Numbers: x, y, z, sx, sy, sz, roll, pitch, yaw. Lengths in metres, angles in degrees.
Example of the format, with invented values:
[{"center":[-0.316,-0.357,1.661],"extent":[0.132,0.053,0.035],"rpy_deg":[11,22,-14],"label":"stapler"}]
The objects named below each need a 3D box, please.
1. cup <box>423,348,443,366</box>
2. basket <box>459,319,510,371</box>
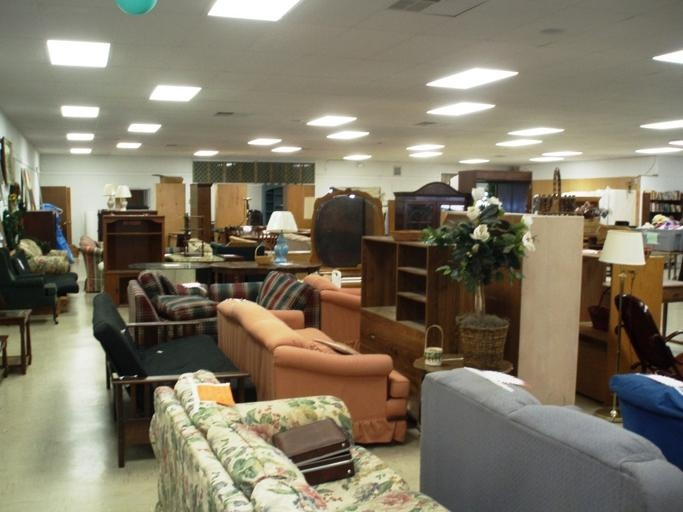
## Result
[{"center":[0.709,0.772,4.104],"extent":[0.125,0.100,0.128],"rpy_deg":[1,5,0],"label":"cup"},{"center":[1.047,0.623,3.997],"extent":[0.362,0.390,0.356],"rpy_deg":[-1,5,-3],"label":"basket"}]
